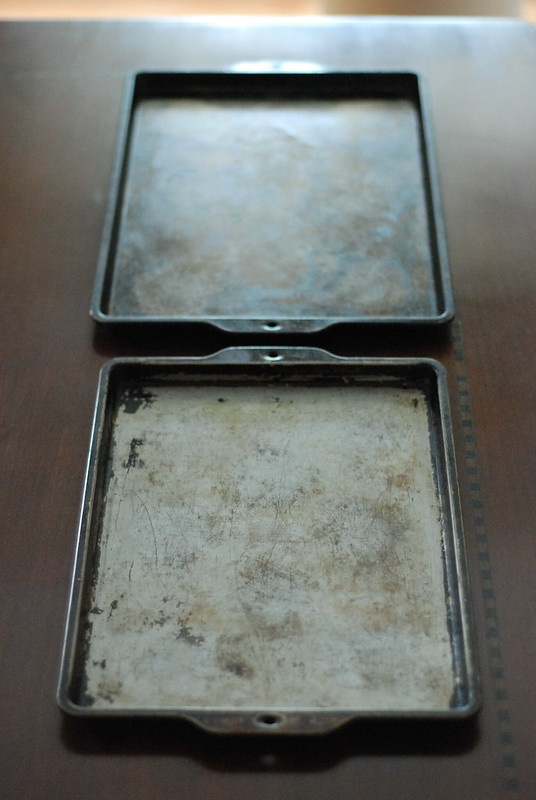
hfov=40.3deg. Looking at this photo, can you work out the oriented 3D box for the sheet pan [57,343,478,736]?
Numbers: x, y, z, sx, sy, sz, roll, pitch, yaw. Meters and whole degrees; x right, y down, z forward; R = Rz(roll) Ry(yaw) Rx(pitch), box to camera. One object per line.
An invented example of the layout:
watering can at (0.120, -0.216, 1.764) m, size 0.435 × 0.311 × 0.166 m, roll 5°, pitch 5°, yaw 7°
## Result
sheet pan at (-0.001, 0.180, 1.119) m, size 0.576 × 0.079 × 0.615 m, roll 2°, pitch 59°, yaw 0°
